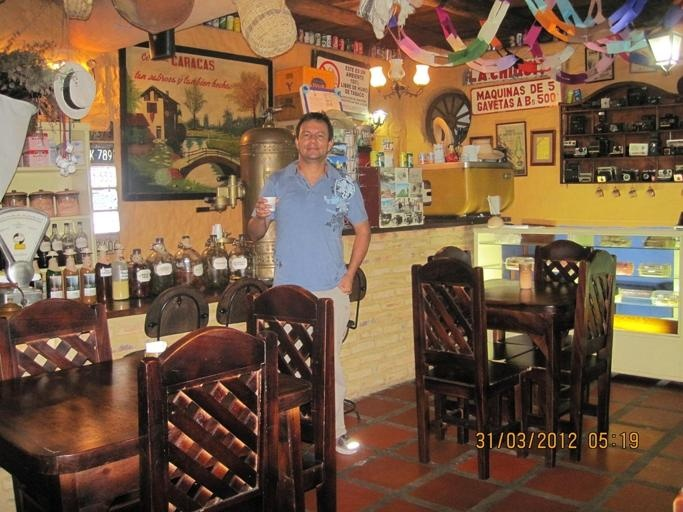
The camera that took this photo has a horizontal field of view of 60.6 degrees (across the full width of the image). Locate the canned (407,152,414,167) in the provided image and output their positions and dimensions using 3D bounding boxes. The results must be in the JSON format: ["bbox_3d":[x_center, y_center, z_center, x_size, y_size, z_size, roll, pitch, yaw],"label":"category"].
[{"bbox_3d":[0.620,-0.862,5.308,0.059,0.117,0.190,0,8,13],"label":"canned"}]

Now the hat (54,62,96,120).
[{"bbox_3d":[-1.647,-1.010,3.591,0.074,0.298,0.307,5,31,24],"label":"hat"}]

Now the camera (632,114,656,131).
[{"bbox_3d":[3.944,-1.720,7.577,0.276,0.224,0.169,4,10,32],"label":"camera"}]

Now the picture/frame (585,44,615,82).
[{"bbox_3d":[3.455,-2.581,7.862,0.403,0.464,0.332,5,10,37],"label":"picture/frame"}]

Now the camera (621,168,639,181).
[{"bbox_3d":[3.839,-1.060,7.742,0.209,0.160,0.091,2,9,25],"label":"camera"}]

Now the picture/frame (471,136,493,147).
[{"bbox_3d":[2.179,-1.785,9.107,0.094,0.160,0.391,-9,11,-41],"label":"picture/frame"}]

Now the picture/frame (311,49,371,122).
[{"bbox_3d":[0.052,-2.512,8.462,0.184,0.788,1.240,5,10,37],"label":"picture/frame"}]

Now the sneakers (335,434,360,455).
[{"bbox_3d":[0.046,1.273,3.943,0.204,0.082,0.086,-1,0,31],"label":"sneakers"}]

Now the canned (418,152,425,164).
[{"bbox_3d":[0.854,-0.995,6.054,0.070,0.112,0.137,-1,8,2],"label":"canned"}]

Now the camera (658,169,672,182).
[{"bbox_3d":[4.173,-1.031,7.502,0.175,0.151,0.096,0,-2,31],"label":"camera"}]

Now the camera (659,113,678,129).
[{"bbox_3d":[4.137,-1.674,7.369,0.217,0.201,0.208,-10,6,-37],"label":"camera"}]
